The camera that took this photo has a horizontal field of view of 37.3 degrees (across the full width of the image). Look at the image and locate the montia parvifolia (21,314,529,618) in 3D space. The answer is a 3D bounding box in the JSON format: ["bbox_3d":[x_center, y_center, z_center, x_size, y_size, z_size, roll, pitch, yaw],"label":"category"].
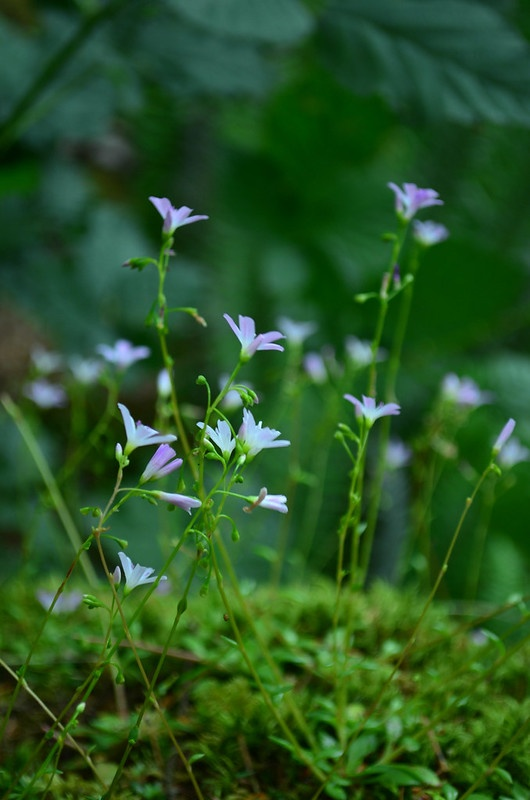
[{"bbox_3d":[0.014,0.115,1.265,0.496,0.326,0.430,20,0,24],"label":"montia parvifolia"}]
